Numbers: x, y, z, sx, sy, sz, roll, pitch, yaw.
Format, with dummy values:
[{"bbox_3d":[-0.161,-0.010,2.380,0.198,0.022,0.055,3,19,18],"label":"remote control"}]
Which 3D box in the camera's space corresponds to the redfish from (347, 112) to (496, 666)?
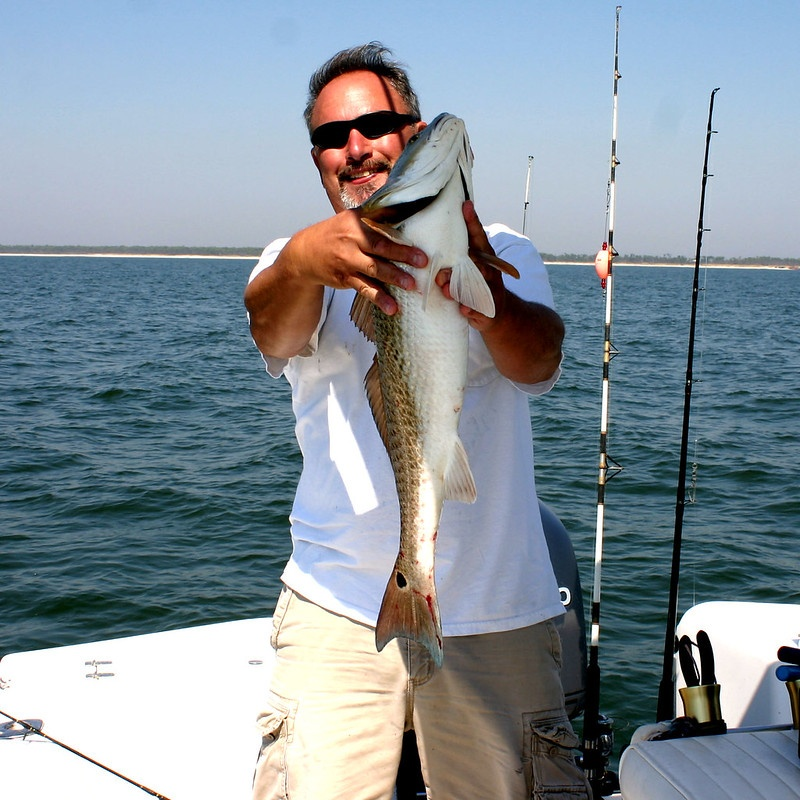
[{"bbox_3d":[0.081,-0.009,2.705,0.336,1.467,0.294,0,16,-1],"label":"redfish"}]
